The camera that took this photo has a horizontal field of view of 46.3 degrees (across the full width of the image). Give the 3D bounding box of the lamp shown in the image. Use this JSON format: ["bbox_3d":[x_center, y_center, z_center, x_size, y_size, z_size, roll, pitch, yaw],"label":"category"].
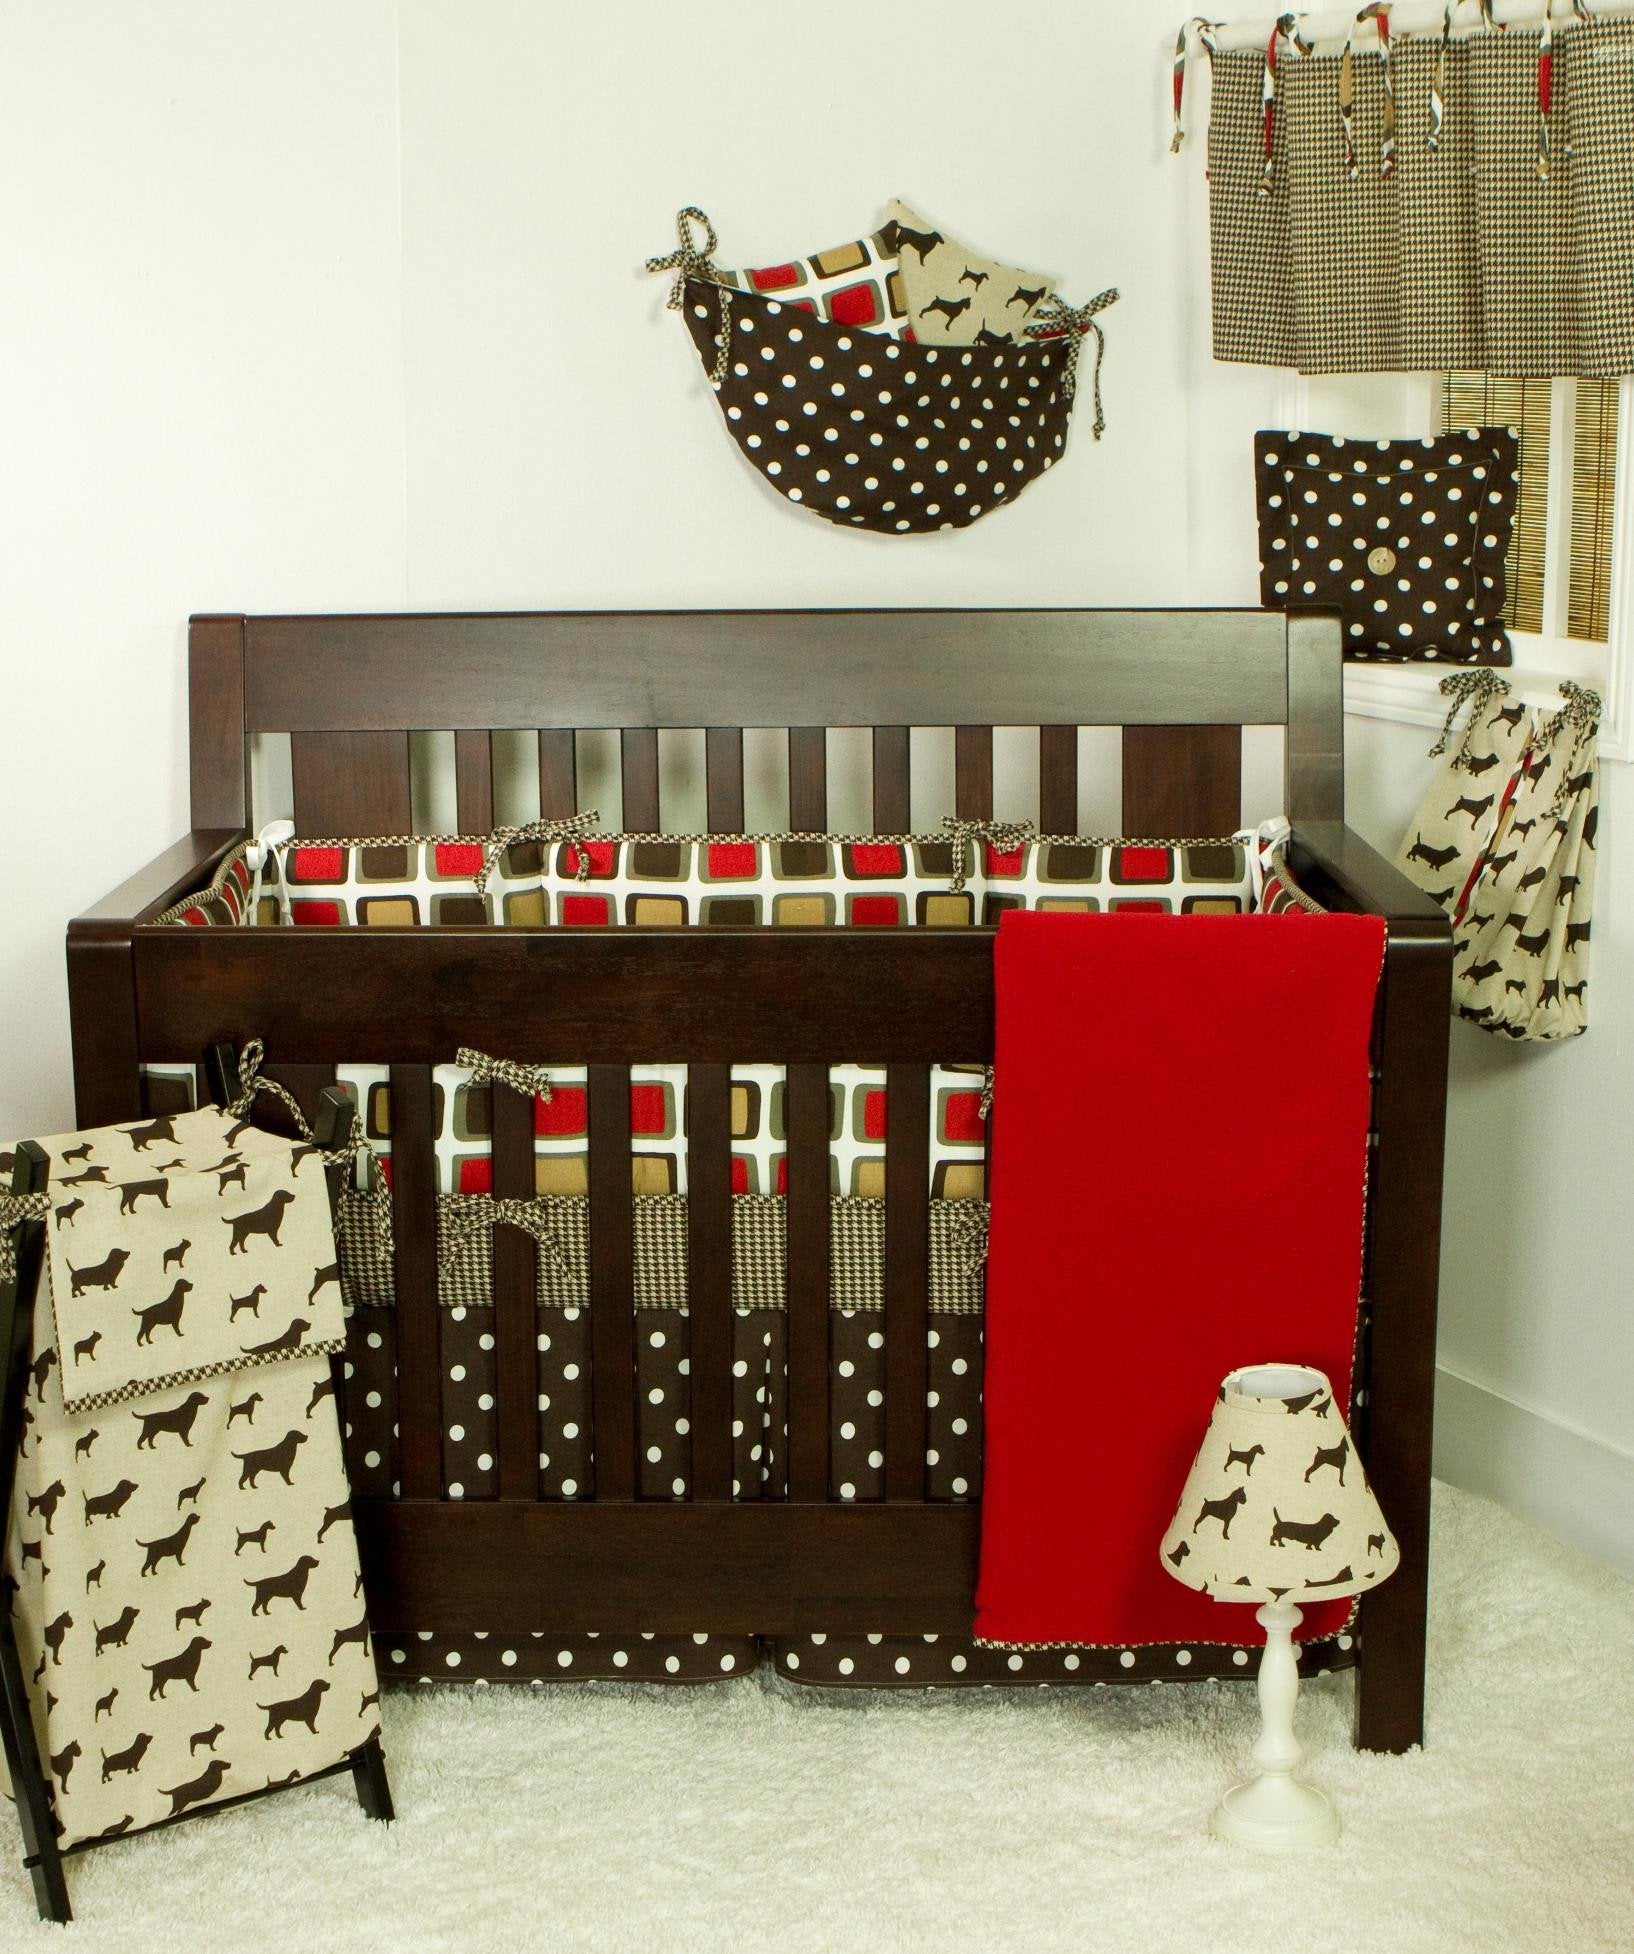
[{"bbox_3d":[0.337,0.474,1.380,0.144,0.287,0.150,2,-4,8],"label":"lamp"}]

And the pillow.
[{"bbox_3d":[0.632,-0.459,2.080,0.262,0.256,0.050,7,14,35],"label":"pillow"}]

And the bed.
[{"bbox_3d":[-0.041,0.177,1.533,0.869,0.780,0.358,-1,14,-2],"label":"bed"}]
